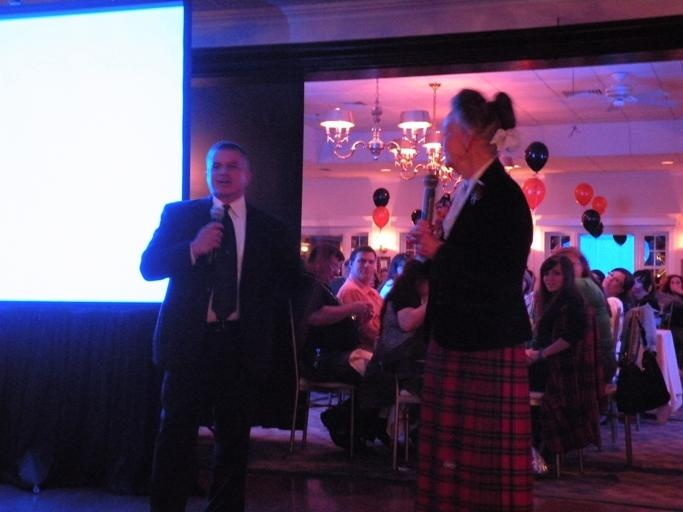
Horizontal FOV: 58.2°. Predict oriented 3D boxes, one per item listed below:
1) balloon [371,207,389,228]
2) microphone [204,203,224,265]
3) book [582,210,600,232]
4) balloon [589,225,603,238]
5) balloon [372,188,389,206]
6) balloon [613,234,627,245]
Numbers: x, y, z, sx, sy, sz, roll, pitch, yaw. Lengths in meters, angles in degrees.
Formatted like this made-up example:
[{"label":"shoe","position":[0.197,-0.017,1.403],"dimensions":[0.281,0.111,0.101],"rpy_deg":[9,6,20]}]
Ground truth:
[{"label":"balloon","position":[0.710,-0.697,11.283],"dimensions":[0.337,0.432,0.354],"rpy_deg":[1,-3,-2]},{"label":"microphone","position":[-0.610,-0.104,2.940],"dimensions":[0.117,0.261,0.236],"rpy_deg":[1,0,-10]},{"label":"book","position":[4.077,-0.590,10.115],"dimensions":[0.314,0.388,0.320],"rpy_deg":[-1,3,27]},{"label":"balloon","position":[4.325,-0.424,10.443],"dimensions":[0.193,0.208,0.221],"rpy_deg":[-7,15,17]},{"label":"balloon","position":[0.720,-1.053,10.912],"dimensions":[0.305,0.370,0.309],"rpy_deg":[0,-1,41]},{"label":"balloon","position":[5.355,-0.307,11.735],"dimensions":[0.203,0.248,0.203],"rpy_deg":[1,-3,-12]}]
